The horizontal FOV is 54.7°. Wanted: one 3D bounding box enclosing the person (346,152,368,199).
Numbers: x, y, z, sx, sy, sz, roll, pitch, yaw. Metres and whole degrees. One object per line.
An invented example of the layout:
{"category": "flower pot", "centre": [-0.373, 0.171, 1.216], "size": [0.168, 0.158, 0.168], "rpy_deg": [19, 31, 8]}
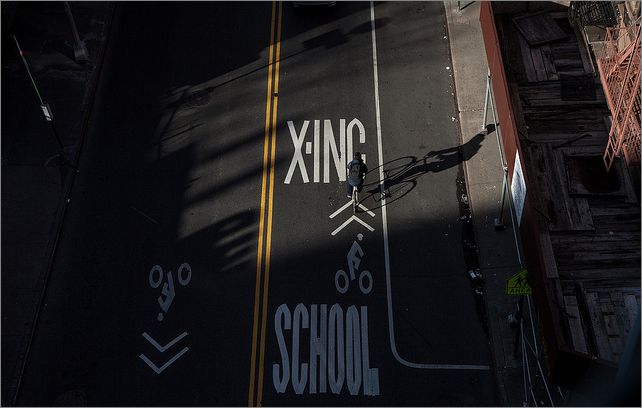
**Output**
{"category": "person", "centre": [1.563, -1.321, 27.782], "size": [0.810, 1.047, 2.501], "rpy_deg": [0, -45, -3]}

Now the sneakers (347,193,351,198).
{"category": "sneakers", "centre": [1.265, -0.419, 28.373], "size": [0.219, 0.086, 0.164], "rpy_deg": [-7, -32, -9]}
